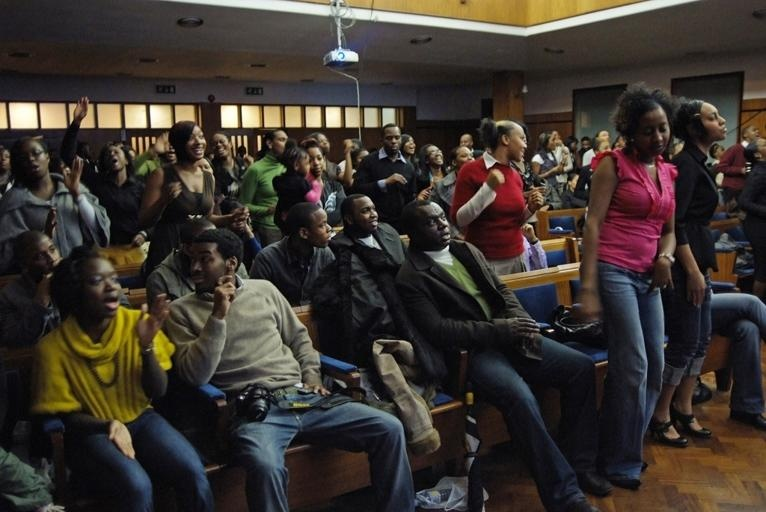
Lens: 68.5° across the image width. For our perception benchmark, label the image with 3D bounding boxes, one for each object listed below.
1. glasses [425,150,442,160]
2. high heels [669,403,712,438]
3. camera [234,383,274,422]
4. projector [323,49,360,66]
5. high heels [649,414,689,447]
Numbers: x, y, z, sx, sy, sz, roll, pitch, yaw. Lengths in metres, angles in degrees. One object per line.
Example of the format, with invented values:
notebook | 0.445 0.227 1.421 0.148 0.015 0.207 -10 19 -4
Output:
glasses | 0.571 -1.151 6.291 0.105 0.068 0.129 0 -10 -19
high heels | 1.946 1.052 3.668 0.121 0.134 0.320 11 5 -44
camera | -0.604 0.686 2.624 0.160 0.149 0.125 0 7 -2
projector | -0.557 -2.679 7.523 0.372 0.283 0.385 -2 8 -19
high heels | 1.781 1.095 3.562 0.114 0.120 0.278 -1 -2 -23
